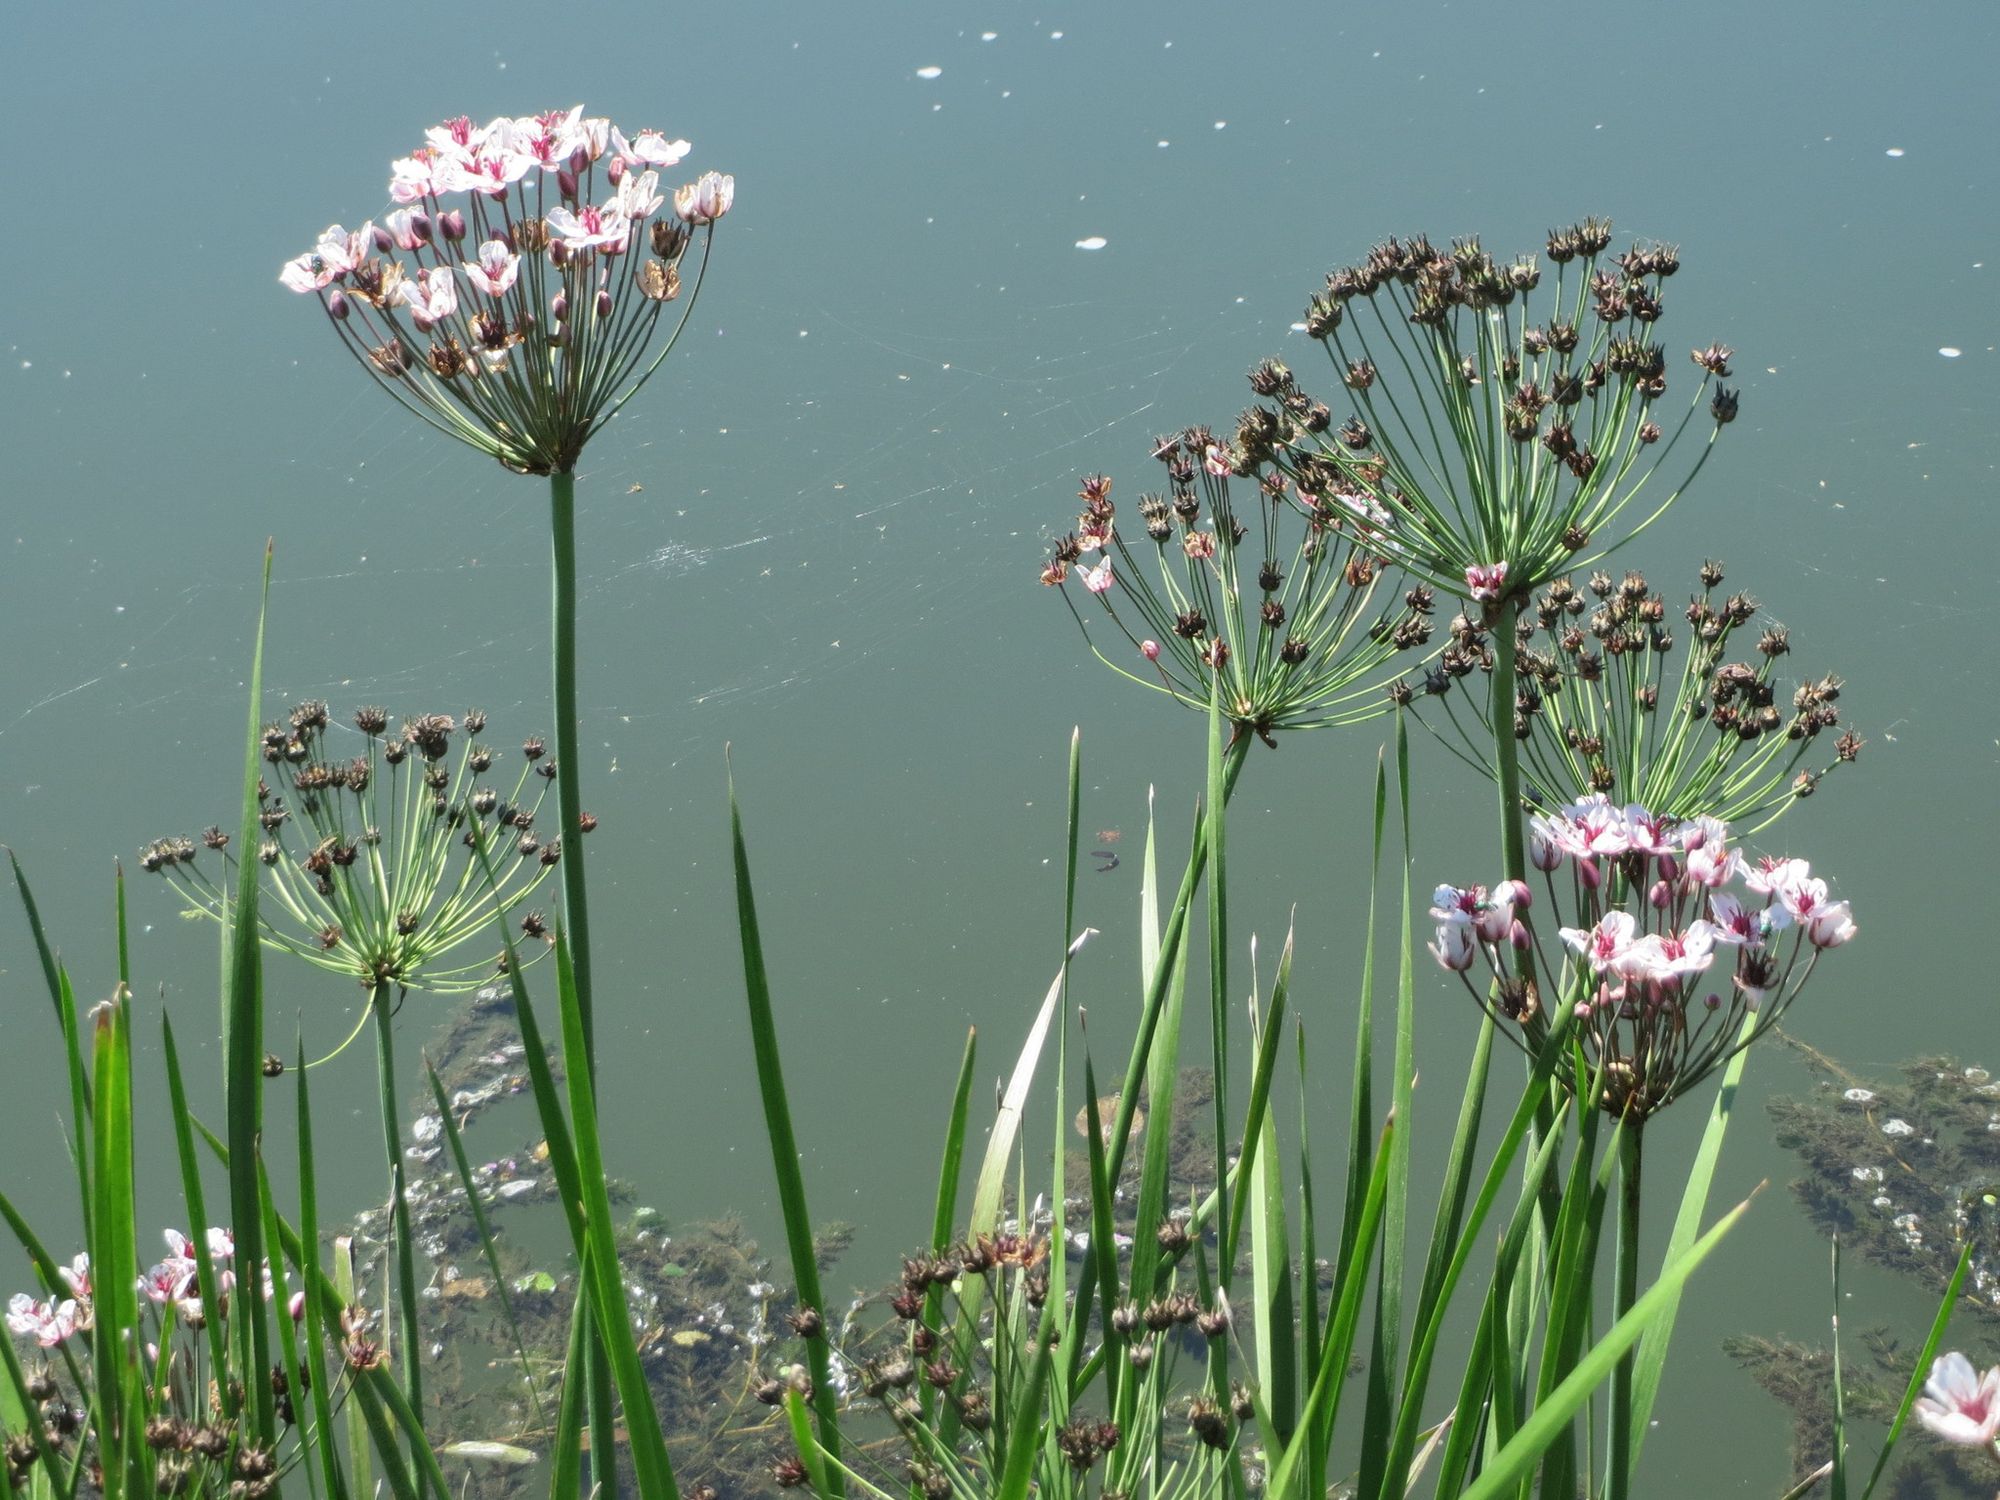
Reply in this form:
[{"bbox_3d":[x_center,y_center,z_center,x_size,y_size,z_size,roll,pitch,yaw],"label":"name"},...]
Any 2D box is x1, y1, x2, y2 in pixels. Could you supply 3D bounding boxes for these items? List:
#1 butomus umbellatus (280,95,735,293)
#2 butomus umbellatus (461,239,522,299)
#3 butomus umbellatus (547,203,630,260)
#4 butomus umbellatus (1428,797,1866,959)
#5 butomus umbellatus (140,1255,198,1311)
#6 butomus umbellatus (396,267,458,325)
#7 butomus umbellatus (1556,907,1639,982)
[{"bbox_3d":[-1.008,-1.136,6.979,0.910,0.349,0.471,-7,7,-5],"label":"butomus umbellatus"},{"bbox_3d":[-1.012,-0.960,6.804,0.118,0.114,0.063,-6,7,0],"label":"butomus umbellatus"},{"bbox_3d":[-0.817,-1.046,6.823,0.116,0.064,0.115,1,22,3],"label":"butomus umbellatus"},{"bbox_3d":[1.224,0.267,6.634,0.708,0.358,0.464,-10,8,-23],"label":"butomus umbellatus"},{"bbox_3d":[-1.629,1.053,6.745,0.101,0.082,0.117,0,9,40],"label":"butomus umbellatus"},{"bbox_3d":[-1.138,-0.907,6.831,0.094,0.083,0.112,-10,23,35],"label":"butomus umbellatus"},{"bbox_3d":[1.132,0.370,6.497,0.158,0.130,0.105,-10,8,-31],"label":"butomus umbellatus"}]
